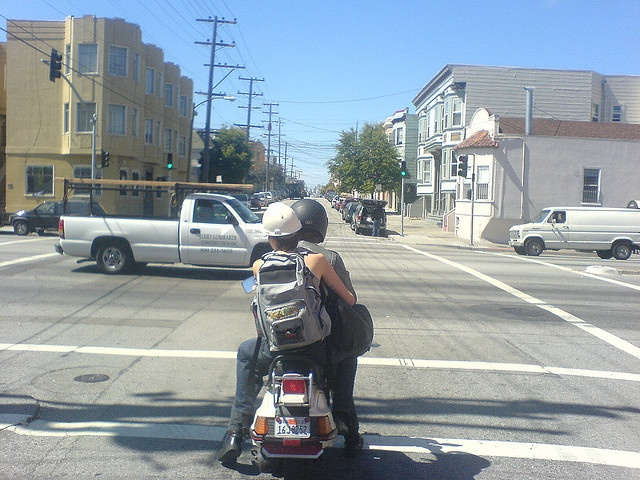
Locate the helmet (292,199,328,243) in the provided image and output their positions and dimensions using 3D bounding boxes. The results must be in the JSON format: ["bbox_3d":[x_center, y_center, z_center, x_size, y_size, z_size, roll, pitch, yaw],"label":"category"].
[{"bbox_3d":[-0.114,-0.286,10.022,0.413,0.492,0.569,6,14,4],"label":"helmet"}]

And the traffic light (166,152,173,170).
[{"bbox_3d":[-6.610,-3.461,32.892,0.143,0.647,1.029,0,5,-17],"label":"traffic light"}]

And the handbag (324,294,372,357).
[{"bbox_3d":[0.326,1.077,9.432,0.413,0.812,0.747,-5,-6,16],"label":"handbag"}]

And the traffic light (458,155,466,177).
[{"bbox_3d":[5.984,-3.120,31.551,0.313,0.910,1.300,2,4,6],"label":"traffic light"}]

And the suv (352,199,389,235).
[{"bbox_3d":[2.495,-1.178,37.967,1.067,1.136,2.200,0,9,-2],"label":"suv"}]

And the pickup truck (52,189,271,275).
[{"bbox_3d":[-3.753,-0.084,18.172,4.319,1.676,2.158,-1,1,1],"label":"pickup truck"}]

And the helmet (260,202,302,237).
[{"bbox_3d":[-0.529,-0.284,9.459,0.352,0.251,0.450,-9,12,-19],"label":"helmet"}]

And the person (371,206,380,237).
[{"bbox_3d":[2.795,-0.884,37.264,0.463,1.278,0.580,0,4,-16],"label":"person"}]
